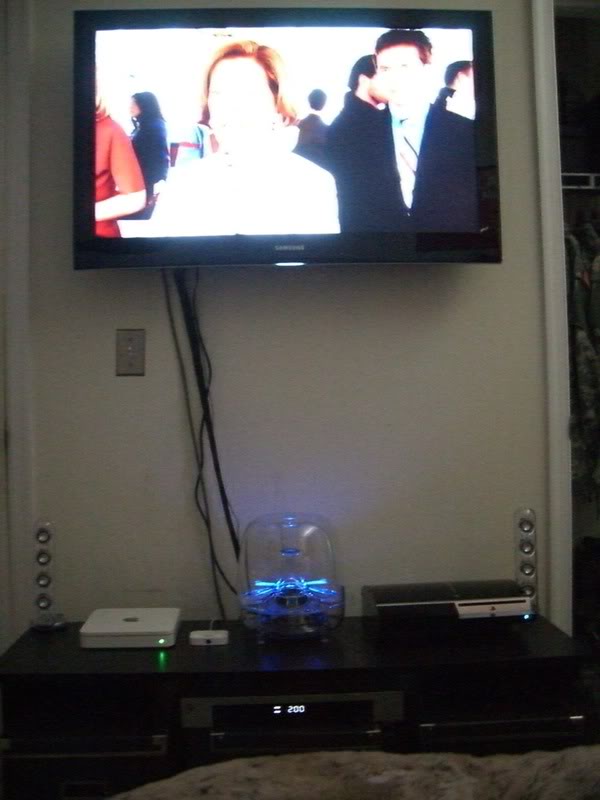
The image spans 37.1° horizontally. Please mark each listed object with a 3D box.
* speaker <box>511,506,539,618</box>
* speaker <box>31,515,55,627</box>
[{"bbox_3d":[0.520,0.358,2.045,0.048,0.206,0.133,-2,3,13],"label":"speaker"},{"bbox_3d":[-0.588,0.395,2.048,0.049,0.216,0.178,-4,3,-17],"label":"speaker"}]
